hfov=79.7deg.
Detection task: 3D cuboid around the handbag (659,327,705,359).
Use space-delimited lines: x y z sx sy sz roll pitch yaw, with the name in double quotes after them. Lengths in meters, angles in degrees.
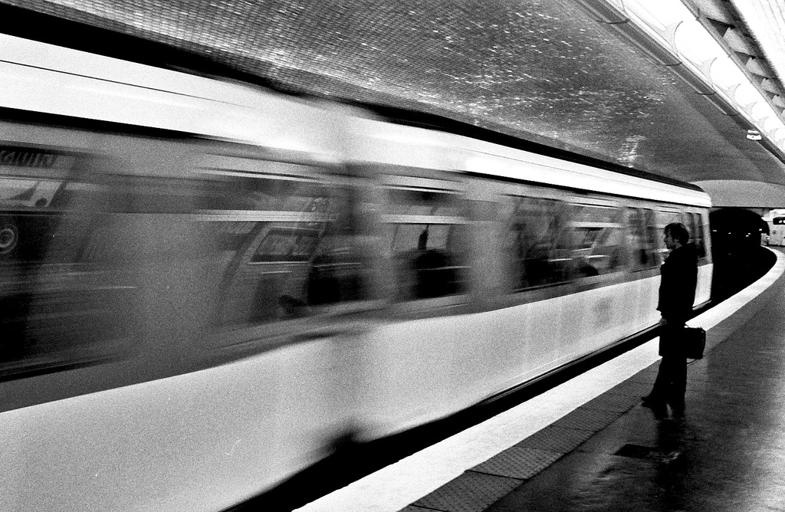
4.146 1.295 6.997 0.761 0.388 0.349 5 -9 -6 "handbag"
